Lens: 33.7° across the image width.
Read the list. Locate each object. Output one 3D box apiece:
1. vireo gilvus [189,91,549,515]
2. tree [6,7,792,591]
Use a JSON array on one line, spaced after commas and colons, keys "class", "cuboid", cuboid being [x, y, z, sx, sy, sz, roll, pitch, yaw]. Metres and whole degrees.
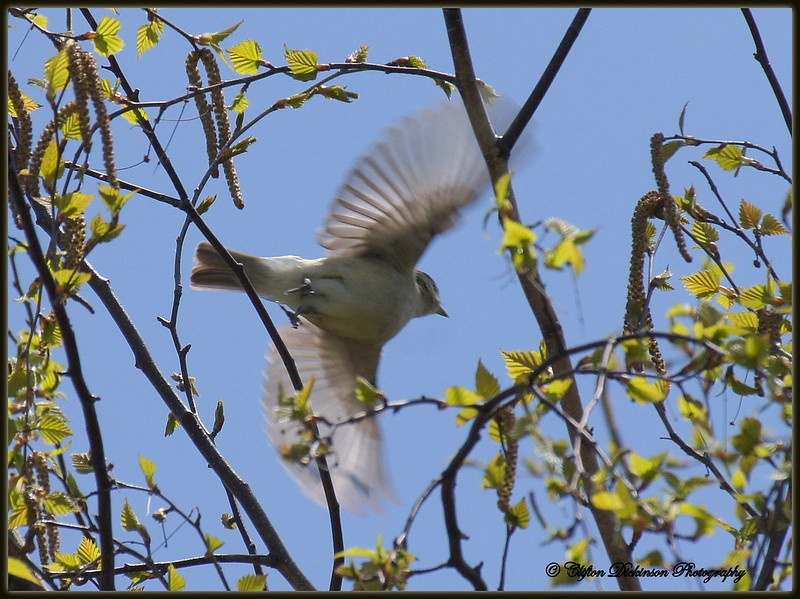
[{"class": "vireo gilvus", "cuboid": [-0.286, -0.130, 5.853, 1.083, 0.735, 2.147, 26, -32, 0]}, {"class": "tree", "cuboid": [-0.057, 0.067, 3.854, 1.708, 0.144, 1.928, -11, -90, 6]}]
